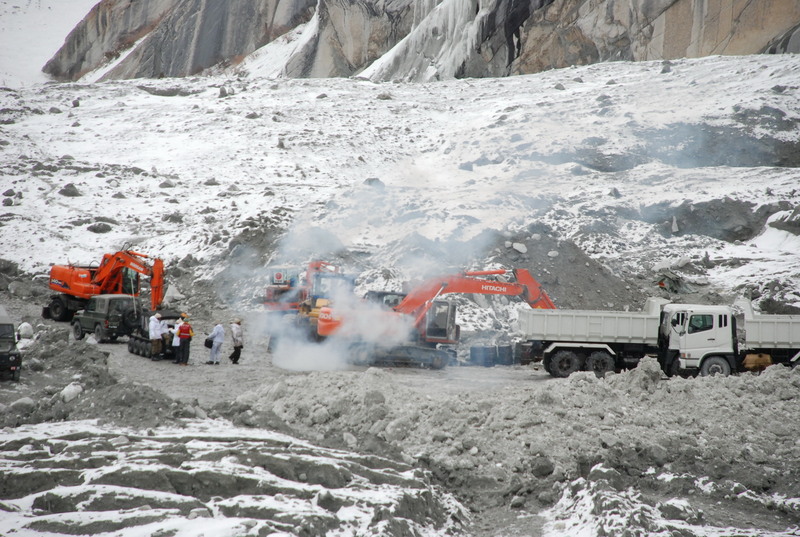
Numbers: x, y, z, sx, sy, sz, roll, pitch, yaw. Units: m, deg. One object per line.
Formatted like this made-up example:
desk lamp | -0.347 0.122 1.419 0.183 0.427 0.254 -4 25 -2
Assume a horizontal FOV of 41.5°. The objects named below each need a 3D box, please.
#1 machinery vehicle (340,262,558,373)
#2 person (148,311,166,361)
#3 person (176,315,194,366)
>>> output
machinery vehicle | 1.631 2.090 44.915 7.316 4.304 1.298 2 -3 10
person | -10.329 2.830 44.459 0.683 1.959 0.357 4 -3 -20
person | -9.201 2.990 44.614 0.559 2.009 1.465 3 -3 -10
